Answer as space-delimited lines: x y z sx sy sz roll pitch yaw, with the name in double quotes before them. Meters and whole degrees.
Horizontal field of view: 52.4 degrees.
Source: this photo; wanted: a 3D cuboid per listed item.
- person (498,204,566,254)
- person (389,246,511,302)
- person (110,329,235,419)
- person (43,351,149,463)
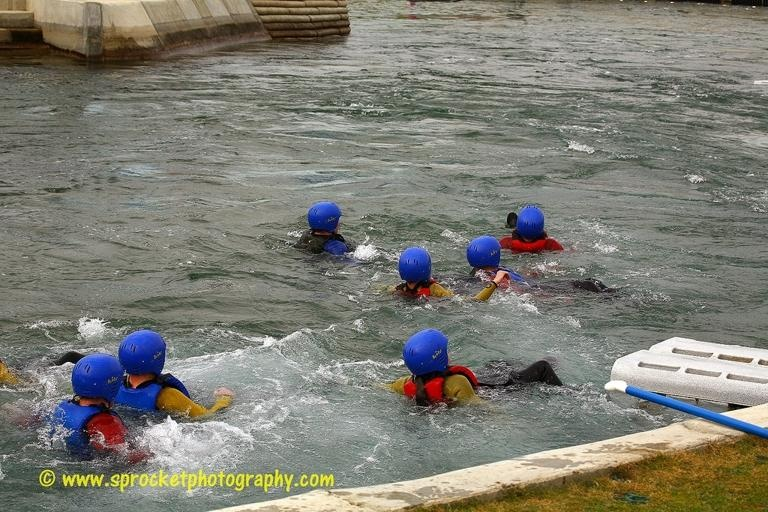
"person" 3.096 -0.593 16.707 1.952 0.513 1.167 2 37 8
"person" 1.139 0.393 14.745 3.027 0.668 1.663 7 11 20
"person" -3.007 1.735 11.158 1.559 1.108 0.762 11 47 15
"person" -3.706 2.032 10.206 2.011 0.733 0.604 12 25 25
